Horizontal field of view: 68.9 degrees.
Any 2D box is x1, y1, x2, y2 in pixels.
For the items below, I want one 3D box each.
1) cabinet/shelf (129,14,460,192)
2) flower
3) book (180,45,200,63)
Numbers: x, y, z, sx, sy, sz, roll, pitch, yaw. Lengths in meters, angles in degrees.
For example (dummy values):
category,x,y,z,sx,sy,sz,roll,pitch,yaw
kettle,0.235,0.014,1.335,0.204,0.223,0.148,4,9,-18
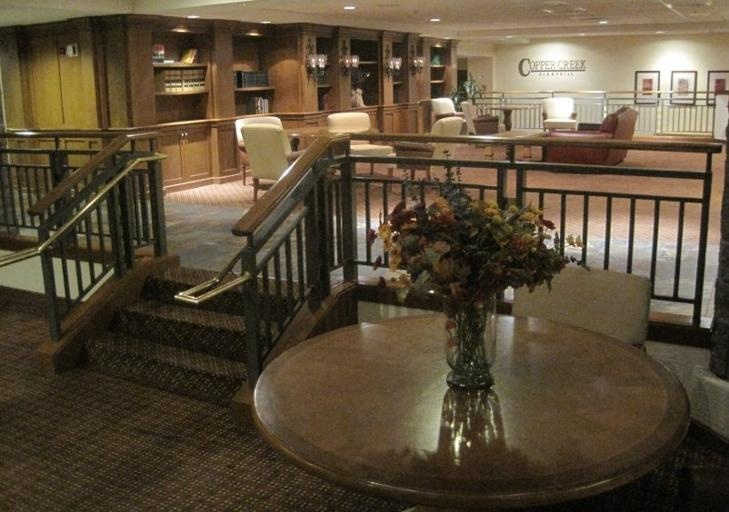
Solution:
category,x,y,z,sx,sy,sz,roll,pitch,yaw
cabinet/shelf,-0.721,-3.478,11.565,1.017,2.916,8.515,12,21,37
flower,0.387,0.009,2.111,0.792,0.754,0.750,-10,11,-43
book,-2.952,-3.401,9.023,0.306,0.254,0.398,-5,17,-16
